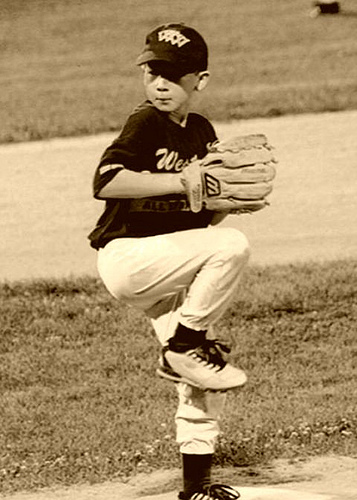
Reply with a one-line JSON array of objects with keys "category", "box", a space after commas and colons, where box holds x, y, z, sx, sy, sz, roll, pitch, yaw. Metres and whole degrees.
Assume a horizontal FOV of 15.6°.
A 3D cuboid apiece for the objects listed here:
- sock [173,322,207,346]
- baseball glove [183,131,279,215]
[{"category": "sock", "box": [0.070, 0.510, 7.939, 0.159, 0.106, 0.129, 17, 1, -43]}, {"category": "baseball glove", "box": [0.309, -0.466, 7.985, 0.559, 0.493, 0.218, 2, 11, 0]}]
